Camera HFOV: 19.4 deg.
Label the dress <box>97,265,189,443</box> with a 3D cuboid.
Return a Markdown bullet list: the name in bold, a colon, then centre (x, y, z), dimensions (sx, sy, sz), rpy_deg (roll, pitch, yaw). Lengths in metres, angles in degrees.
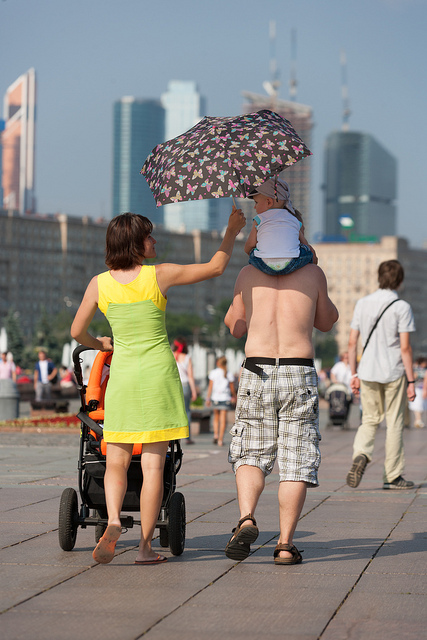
- **dress**: centre (-0.359, 0.174, 6.322), dimensions (0.471, 0.874, 0.214), rpy_deg (2, 3, -1)

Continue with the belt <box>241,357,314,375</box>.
- **belt**: centre (0.328, 0.230, 6.354), dimensions (0.354, 0.089, 0.164), rpy_deg (2, 3, 1)

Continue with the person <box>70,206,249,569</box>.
- **person**: centre (-0.312, 0.315, 6.343), dimensions (0.829, 1.774, 0.554), rpy_deg (2, 3, -1)

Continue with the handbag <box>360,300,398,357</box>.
- **handbag**: centre (1.280, 0.069, 9.640), dimensions (0.053, 0.480, 0.066), rpy_deg (24, -22, 12)

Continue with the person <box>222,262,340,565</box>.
- **person**: centre (0.332, 0.468, 6.315), dimensions (0.571, 1.512, 0.689), rpy_deg (2, 3, 0)

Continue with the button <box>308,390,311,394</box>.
- **button**: centre (0.481, 0.362, 6.297), dimensions (0.017, 0.020, 0.004), rpy_deg (-1, 4, -42)

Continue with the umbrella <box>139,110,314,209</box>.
- **umbrella**: centre (0.067, -0.838, 6.433), dimensions (0.822, 0.533, 0.753), rpy_deg (2, 3, -4)

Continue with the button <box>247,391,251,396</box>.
- **button**: centre (0.179, 0.372, 6.328), dimensions (0.022, 0.023, 0.007), rpy_deg (-2, -6, 8)
